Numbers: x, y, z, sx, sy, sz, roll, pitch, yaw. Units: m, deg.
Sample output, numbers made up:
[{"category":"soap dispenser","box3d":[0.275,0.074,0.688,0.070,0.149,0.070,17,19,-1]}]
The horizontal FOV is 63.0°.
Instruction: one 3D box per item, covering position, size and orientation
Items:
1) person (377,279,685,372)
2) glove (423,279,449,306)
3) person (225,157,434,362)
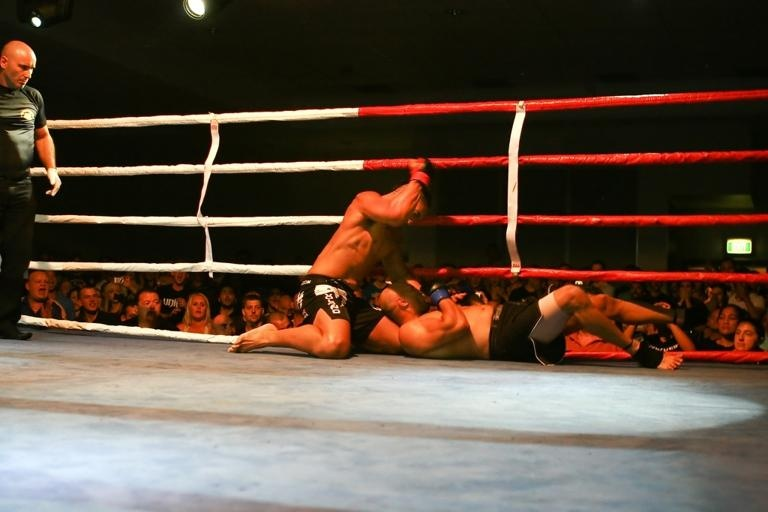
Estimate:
[{"category":"person","box3d":[0.788,0.377,3.526,1.634,0.365,0.573,-2,2,12]},{"category":"glove","box3d":[0.319,0.218,3.702,0.143,0.100,0.152,-14,-16,-28]},{"category":"person","box3d":[-0.257,-0.013,3.763,0.790,1.191,0.823,4,5,23]}]
